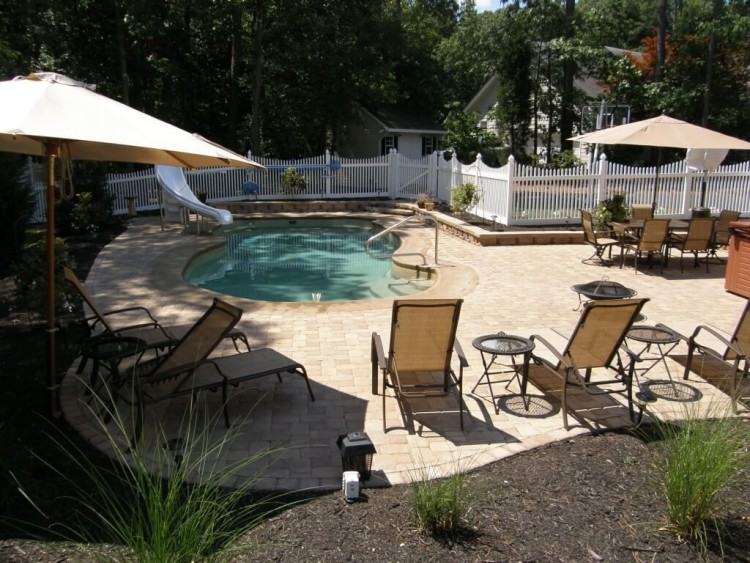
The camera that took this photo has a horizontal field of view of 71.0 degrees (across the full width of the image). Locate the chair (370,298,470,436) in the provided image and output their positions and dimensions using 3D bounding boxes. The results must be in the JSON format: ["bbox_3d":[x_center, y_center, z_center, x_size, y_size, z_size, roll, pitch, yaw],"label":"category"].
[{"bbox_3d":[0.488,0.759,5.638,1.021,1.299,1.159,-1,12,-1],"label":"chair"}]

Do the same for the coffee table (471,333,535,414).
[{"bbox_3d":[1.460,0.965,5.980,0.721,0.695,0.773,-6,-16,28],"label":"coffee table"}]

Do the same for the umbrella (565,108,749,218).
[{"bbox_3d":[6.170,-2.679,12.107,3.178,1.844,3.103,-13,19,-43],"label":"umbrella"}]

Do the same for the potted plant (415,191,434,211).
[{"bbox_3d":[1.926,-3.000,19.673,0.783,0.512,1.147,-1,8,-4],"label":"potted plant"}]

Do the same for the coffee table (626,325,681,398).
[{"bbox_3d":[3.491,0.964,6.492,0.684,0.621,0.675,-1,-9,35],"label":"coffee table"}]

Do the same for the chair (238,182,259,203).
[{"bbox_3d":[-5.392,-3.943,22.995,0.984,1.004,0.884,0,6,-2],"label":"chair"}]
